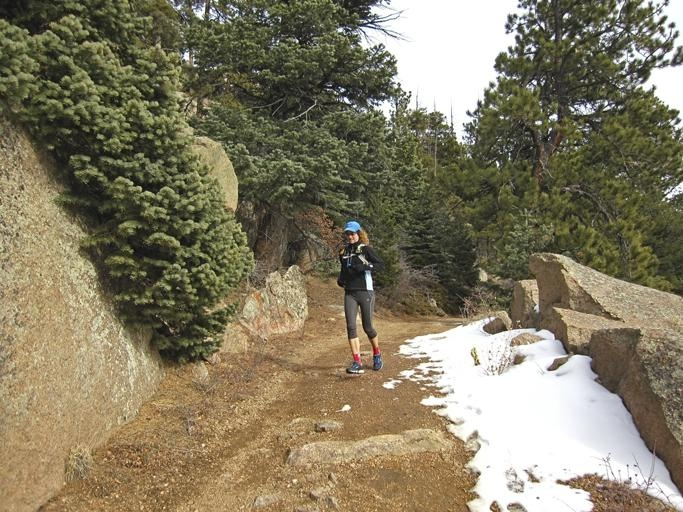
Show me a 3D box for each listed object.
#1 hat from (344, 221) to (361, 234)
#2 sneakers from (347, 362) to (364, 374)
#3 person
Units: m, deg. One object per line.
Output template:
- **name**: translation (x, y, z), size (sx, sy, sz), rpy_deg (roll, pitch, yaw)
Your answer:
- **hat**: translation (0.209, -0.510, 10.421), size (0.198, 0.187, 0.307), rpy_deg (-1, -13, 16)
- **sneakers**: translation (0.237, 1.981, 10.231), size (0.338, 0.213, 0.147), rpy_deg (0, -9, 2)
- **person**: translation (0.341, 0.741, 10.397), size (0.789, 2.641, 0.883), rpy_deg (1, 3, 4)
